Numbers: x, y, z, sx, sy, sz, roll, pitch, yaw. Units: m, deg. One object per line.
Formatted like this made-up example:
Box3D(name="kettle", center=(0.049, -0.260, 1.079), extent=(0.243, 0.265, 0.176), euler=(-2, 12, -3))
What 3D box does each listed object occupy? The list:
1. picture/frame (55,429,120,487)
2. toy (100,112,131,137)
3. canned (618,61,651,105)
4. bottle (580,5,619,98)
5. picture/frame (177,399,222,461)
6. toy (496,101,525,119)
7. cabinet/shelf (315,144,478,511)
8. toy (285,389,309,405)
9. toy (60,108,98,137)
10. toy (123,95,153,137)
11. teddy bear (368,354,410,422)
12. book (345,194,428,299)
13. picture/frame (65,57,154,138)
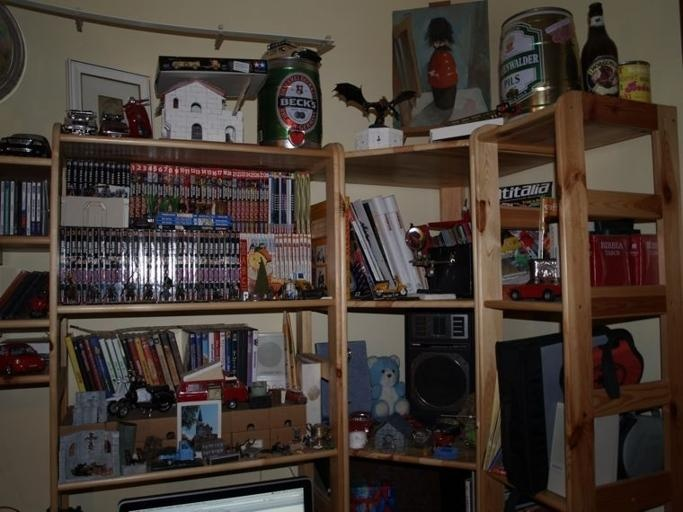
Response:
Box3D(name="picture/frame", center=(-0.819, 0.650, 2.060), extent=(0.183, 0.103, 0.043), euler=(-4, -1, -9))
Box3D(name="toy", center=(-0.788, -0.456, 2.191), extent=(0.074, 0.067, 0.134), euler=(-2, 10, -27))
Box3D(name="canned", center=(0.947, -0.562, 2.037), extent=(0.107, 0.149, 0.058), euler=(-3, -1, -22))
Box3D(name="bottle", center=(0.884, -0.711, 2.181), extent=(0.113, 0.344, 0.229), euler=(-4, -1, 22))
Box3D(name="picture/frame", center=(-0.485, 0.608, 2.172), extent=(0.155, 0.234, 0.006), euler=(-1, 13, -16))
Box3D(name="toy", center=(0.597, -0.521, 2.275), extent=(0.086, 0.036, 0.061), euler=(-3, 3, -40))
Box3D(name="cabinet/shelf", center=(0.169, 0.277, 2.456), extent=(0.544, 1.127, 0.633), euler=(-3, -1, -6))
Box3D(name="toy", center=(-0.171, 0.521, 2.322), extent=(0.068, 0.055, 0.043), euler=(-1, -19, 12))
Box3D(name="toy", center=(-0.868, -0.446, 2.110), extent=(0.078, 0.063, 0.130), euler=(-2, 11, -24))
Box3D(name="toy", center=(-0.739, -0.489, 2.293), extent=(0.116, 0.173, 0.048), euler=(-12, 4, -43))
Box3D(name="teddy bear", center=(0.185, 0.527, 2.537), extent=(0.189, 0.315, 0.190), euler=(1, -4, -21))
Box3D(name="book", center=(0.174, -0.015, 2.458), extent=(0.265, 0.400, 0.101), euler=(-14, 0, -24))
Box3D(name="picture/frame", center=(-0.863, -0.580, 2.329), extent=(0.365, 0.302, 0.025), euler=(1, -16, -41))
